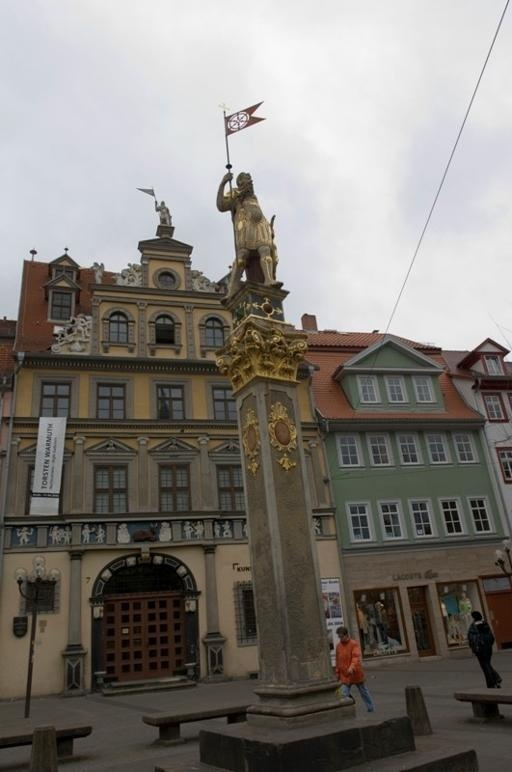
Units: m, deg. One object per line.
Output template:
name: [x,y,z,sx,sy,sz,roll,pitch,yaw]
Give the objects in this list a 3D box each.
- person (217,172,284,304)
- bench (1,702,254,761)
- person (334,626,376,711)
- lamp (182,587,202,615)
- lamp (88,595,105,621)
person: [-0.139,-2.419,9.185,0.894,2.438,0.805,-18,-28,22]
bench: [-1.852,4.960,8.112,3.718,0.446,1.617,13,-32,-35]
person: [1.431,4.380,8.724,0.458,1.230,1.008,-9,-26,5]
lamp: [-2.119,7.315,18.966,0.626,0.633,0.562,6,-21,-17]
lamp: [-4.905,7.055,17.824,0.559,0.730,0.528,21,-37,-41]
